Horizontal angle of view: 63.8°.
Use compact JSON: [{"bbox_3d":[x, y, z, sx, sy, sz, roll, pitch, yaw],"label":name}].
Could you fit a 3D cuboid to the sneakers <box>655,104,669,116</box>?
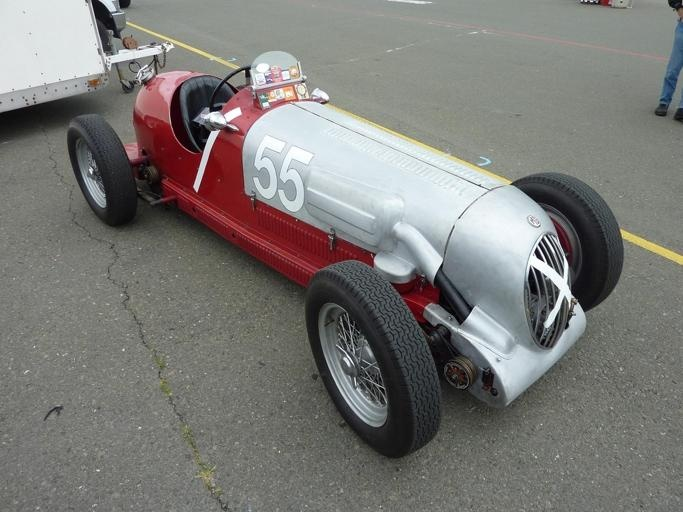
[{"bbox_3d":[4.699,-2.151,8.088,0.108,0.137,0.321,0,35,18],"label":"sneakers"}]
